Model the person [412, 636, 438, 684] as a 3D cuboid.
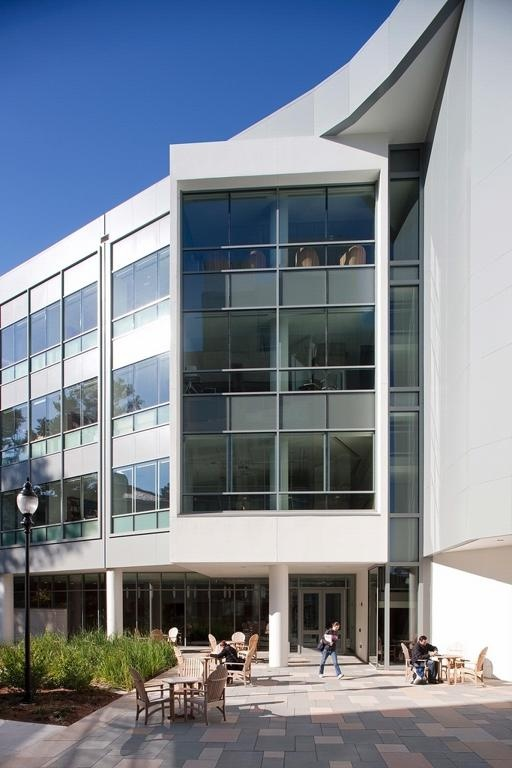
[{"bbox_3d":[3.821,6.447,21.500,0.793,1.028,0.548,11,-17,-43],"label":"person"}]
